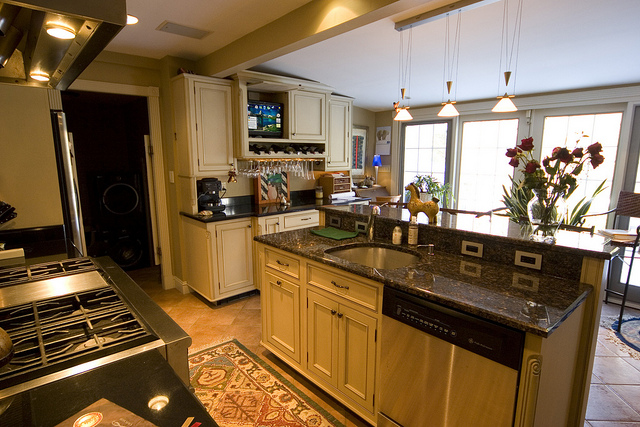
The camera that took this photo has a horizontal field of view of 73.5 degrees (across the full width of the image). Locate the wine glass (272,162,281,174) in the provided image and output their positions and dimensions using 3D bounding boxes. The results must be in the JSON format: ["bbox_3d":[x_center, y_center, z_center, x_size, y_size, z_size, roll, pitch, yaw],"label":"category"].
[{"bbox_3d":[-0.547,-0.585,5.376,0.121,0.157,0.086,7,20,8],"label":"wine glass"}]

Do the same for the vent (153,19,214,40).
[{"bbox_3d":[-1.292,-1.730,4.045,0.460,0.069,0.299,-6,11,-33],"label":"vent"}]

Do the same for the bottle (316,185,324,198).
[{"bbox_3d":[0.007,-0.316,6.013,0.097,0.165,0.178,1,10,8],"label":"bottle"}]

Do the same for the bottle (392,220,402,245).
[{"bbox_3d":[0.655,0.149,3.593,0.081,0.190,0.126,2,11,11],"label":"bottle"}]

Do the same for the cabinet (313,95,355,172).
[{"bbox_3d":[0.092,-1.045,6.063,0.674,1.122,0.469,-8,13,-37],"label":"cabinet"}]

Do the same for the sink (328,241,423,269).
[{"bbox_3d":[0.473,0.351,3.539,0.745,0.225,0.272,2,10,14],"label":"sink"}]

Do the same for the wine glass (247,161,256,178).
[{"bbox_3d":[-0.836,-0.548,5.220,0.089,0.188,0.109,3,11,17],"label":"wine glass"}]

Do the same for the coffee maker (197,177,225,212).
[{"bbox_3d":[-1.262,-0.213,4.981,0.276,0.411,0.222,-10,11,-39],"label":"coffee maker"}]

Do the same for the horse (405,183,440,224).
[{"bbox_3d":[0.849,-0.088,3.502,0.333,0.308,0.124,10,23,37],"label":"horse"}]

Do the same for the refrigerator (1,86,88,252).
[{"bbox_3d":[-2.241,-0.337,3.359,0.519,1.264,0.144,-9,15,-40],"label":"refrigerator"}]

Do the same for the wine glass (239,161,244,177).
[{"bbox_3d":[-0.944,-0.549,5.178,0.049,0.144,0.031,2,11,11],"label":"wine glass"}]

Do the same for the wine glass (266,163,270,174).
[{"bbox_3d":[-0.646,-0.570,5.294,0.040,0.113,0.112,-2,11,-10],"label":"wine glass"}]

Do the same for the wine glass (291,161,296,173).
[{"bbox_3d":[-0.346,-0.621,5.654,0.070,0.123,0.028,11,5,36],"label":"wine glass"}]

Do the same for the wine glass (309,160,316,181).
[{"bbox_3d":[-0.101,-0.609,6.008,0.090,0.298,0.229,0,11,-1],"label":"wine glass"}]

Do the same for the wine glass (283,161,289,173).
[{"bbox_3d":[-0.437,-0.612,5.526,0.073,0.129,0.135,-1,10,-5],"label":"wine glass"}]

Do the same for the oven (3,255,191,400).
[{"bbox_3d":[-1.273,0.599,2.370,0.722,0.385,1.293,-5,19,-36],"label":"oven"}]

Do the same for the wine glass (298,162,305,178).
[{"bbox_3d":[-0.256,-0.602,5.892,0.088,0.216,0.171,0,11,-2],"label":"wine glass"}]

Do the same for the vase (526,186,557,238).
[{"bbox_3d":[1.716,-0.003,3.287,0.261,0.429,0.252,0,5,-45],"label":"vase"}]
